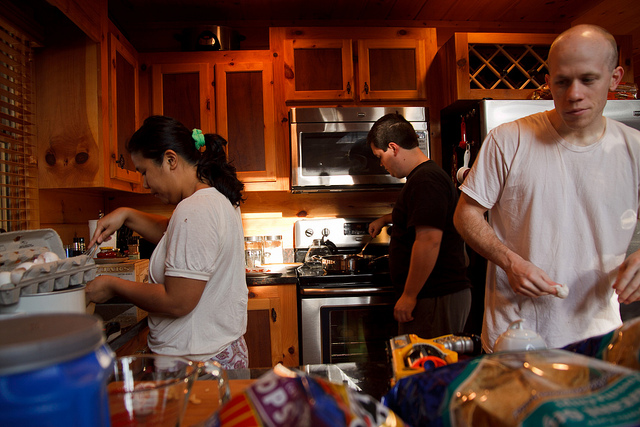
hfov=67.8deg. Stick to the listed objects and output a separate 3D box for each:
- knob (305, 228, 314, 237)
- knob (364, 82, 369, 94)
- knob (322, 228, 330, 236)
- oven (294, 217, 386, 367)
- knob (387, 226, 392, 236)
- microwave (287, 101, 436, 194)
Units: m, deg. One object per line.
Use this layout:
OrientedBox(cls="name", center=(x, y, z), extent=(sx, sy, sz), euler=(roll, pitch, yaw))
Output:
OrientedBox(cls="knob", center=(-0.079, 0.137, 3.344), extent=(0.061, 0.049, 0.015), euler=(-1, -1, -9))
OrientedBox(cls="knob", center=(0.299, -0.825, 3.131), extent=(0.023, 0.076, 0.011), euler=(-1, -1, -13))
OrientedBox(cls="knob", center=(0.035, 0.129, 3.328), extent=(0.050, 0.049, 0.045), euler=(-3, 11, -10))
OrientedBox(cls="oven", center=(0.209, 0.564, 2.982), extent=(0.576, 1.015, 0.651), euler=(-4, 11, 0))
OrientedBox(cls="knob", center=(0.477, 0.123, 3.304), extent=(0.017, 0.066, 0.057), euler=(-1, -1, -7))
OrientedBox(cls="microwave", center=(0.304, -0.483, 3.243), extent=(0.945, 0.558, 0.532), euler=(0, 21, 10))
